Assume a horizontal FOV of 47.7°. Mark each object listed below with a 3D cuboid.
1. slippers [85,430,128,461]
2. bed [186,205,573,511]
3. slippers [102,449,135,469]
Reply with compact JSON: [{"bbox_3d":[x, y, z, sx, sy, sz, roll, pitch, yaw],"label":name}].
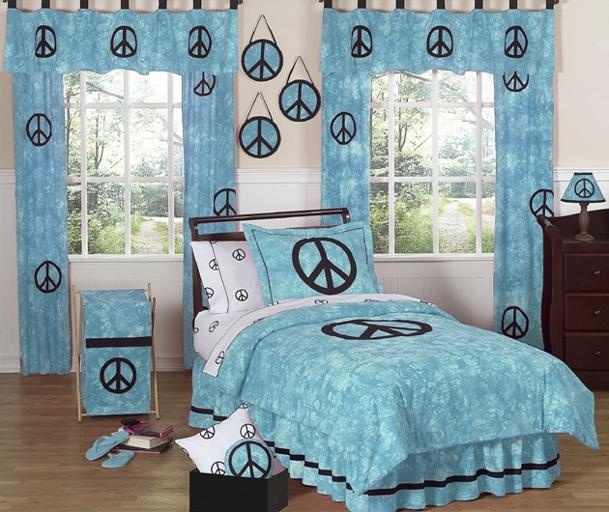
[{"bbox_3d":[-0.947,0.883,3.281,0.087,0.041,0.182,-3,20,33],"label":"slippers"},{"bbox_3d":[0.235,0.334,3.257,1.069,0.903,1.678,-5,8,-26],"label":"bed"},{"bbox_3d":[-0.866,0.951,3.205,0.130,0.034,0.140,-6,9,-4],"label":"slippers"}]
